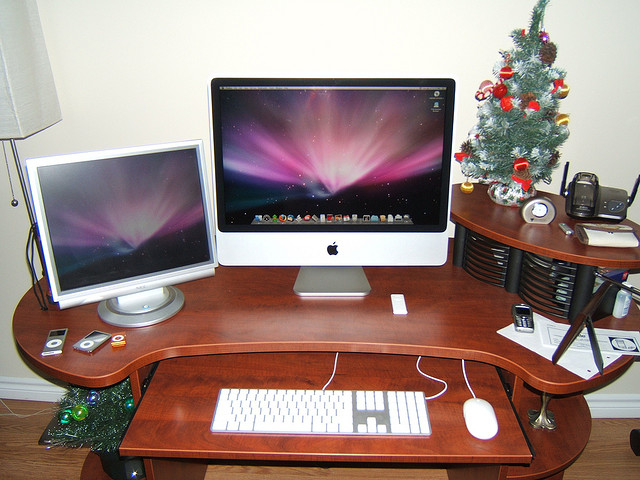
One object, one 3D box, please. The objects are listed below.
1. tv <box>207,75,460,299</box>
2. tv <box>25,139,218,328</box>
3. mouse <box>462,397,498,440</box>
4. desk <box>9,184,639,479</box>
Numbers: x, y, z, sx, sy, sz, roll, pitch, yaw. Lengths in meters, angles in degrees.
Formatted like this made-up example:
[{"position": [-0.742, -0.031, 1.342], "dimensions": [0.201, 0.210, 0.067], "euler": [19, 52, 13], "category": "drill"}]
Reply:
[{"position": [0.042, -0.180, 1.767], "dimensions": [0.822, 0.718, 0.260], "euler": [0, 18, -1], "category": "tv"}, {"position": [-0.657, -0.006, 1.710], "dimensions": [0.513, 0.531, 0.296], "euler": [-9, 30, -23], "category": "tv"}, {"position": [0.491, 0.543, 1.559], "dimensions": [0.106, 0.065, 0.113], "euler": [4, 27, 9], "category": "mouse"}, {"position": [0.025, 0.440, 2.039], "dimensions": [2.178, 1.074, 1.026], "euler": [-1, 44, 3], "category": "desk"}]
